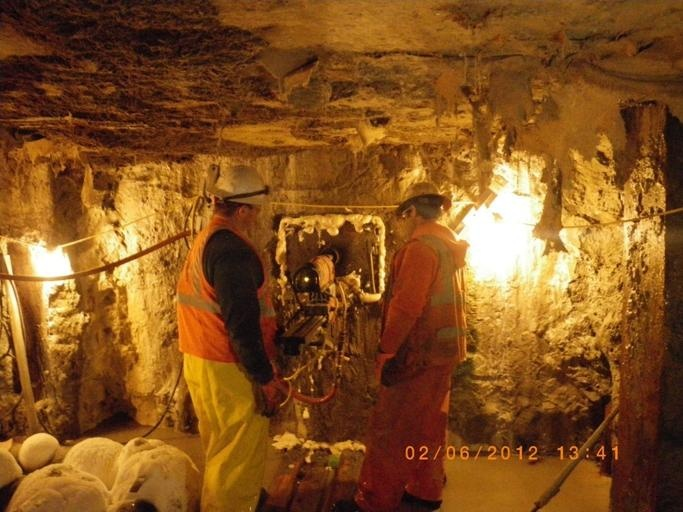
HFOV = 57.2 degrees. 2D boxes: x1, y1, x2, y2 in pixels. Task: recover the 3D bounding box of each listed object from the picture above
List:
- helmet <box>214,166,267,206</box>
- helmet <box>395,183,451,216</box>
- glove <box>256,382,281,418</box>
[{"bbox_3d":[-0.826,-0.568,5.204,0.420,0.177,0.289,-2,35,-30],"label":"helmet"},{"bbox_3d":[0.729,-0.479,5.656,0.454,0.177,0.422,20,-1,-23],"label":"helmet"},{"bbox_3d":[-0.597,1.164,5.074,0.215,0.286,0.075,4,-10,-41],"label":"glove"}]
